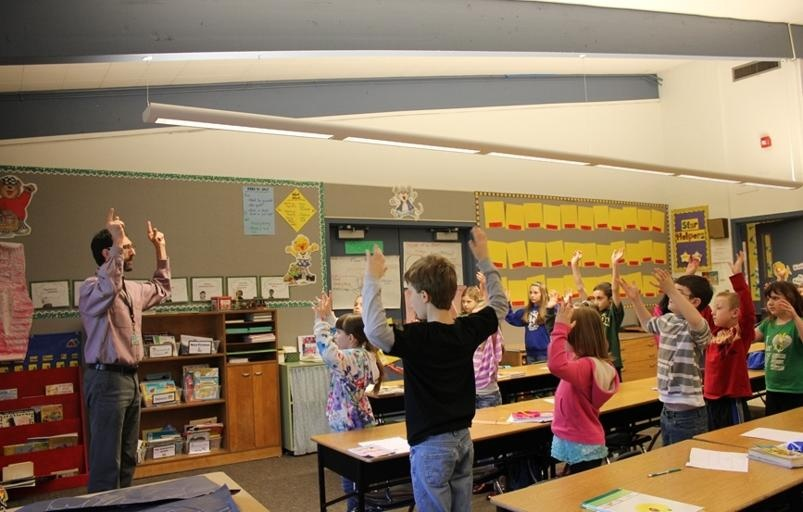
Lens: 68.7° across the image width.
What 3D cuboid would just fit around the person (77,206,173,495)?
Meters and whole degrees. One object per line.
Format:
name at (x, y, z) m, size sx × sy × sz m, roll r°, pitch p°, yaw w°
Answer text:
person at (-2.361, 0.799, 5.053) m, size 0.723 × 2.143 × 0.526 m, roll -2°, pitch 0°, yaw -38°
